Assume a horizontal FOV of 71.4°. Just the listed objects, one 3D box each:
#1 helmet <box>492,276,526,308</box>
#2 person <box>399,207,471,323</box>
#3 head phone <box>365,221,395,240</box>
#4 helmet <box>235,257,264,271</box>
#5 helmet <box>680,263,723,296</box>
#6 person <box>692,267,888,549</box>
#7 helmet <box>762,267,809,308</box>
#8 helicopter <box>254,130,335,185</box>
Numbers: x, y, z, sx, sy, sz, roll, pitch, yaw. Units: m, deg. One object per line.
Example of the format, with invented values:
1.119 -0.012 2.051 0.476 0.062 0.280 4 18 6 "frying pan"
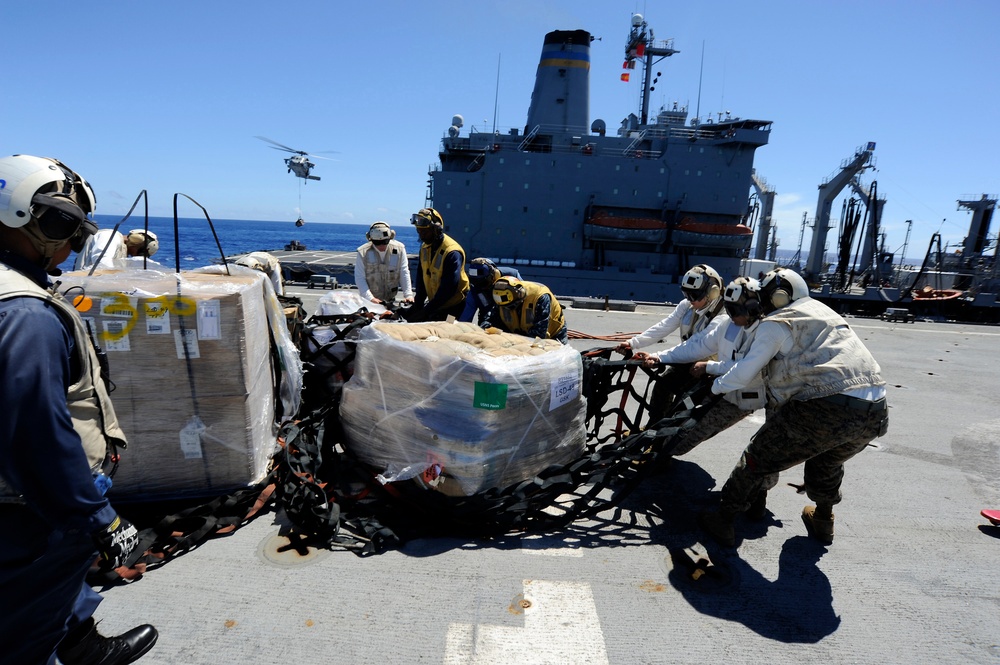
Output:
0.072 -0.405 6.867 0.275 0.321 0.338 4 12 12 "helmet"
-0.642 -0.689 7.255 0.596 1.187 0.809 1 12 -2 "person"
-1.246 -1.051 7.304 0.286 0.200 0.487 -1 10 -9 "head phone"
-2.297 -0.639 6.369 0.233 0.072 0.271 2 11 -5 "helmet"
1.829 -0.495 6.214 0.417 0.298 0.306 10 3 4 "helmet"
2.172 0.532 5.163 1.251 1.986 0.580 1 13 -4 "person"
2.143 -0.336 5.216 0.355 0.263 0.311 2 8 30 "helmet"
-8.507 -7.297 29.661 3.329 1.189 3.715 13 10 -21 "helicopter"
